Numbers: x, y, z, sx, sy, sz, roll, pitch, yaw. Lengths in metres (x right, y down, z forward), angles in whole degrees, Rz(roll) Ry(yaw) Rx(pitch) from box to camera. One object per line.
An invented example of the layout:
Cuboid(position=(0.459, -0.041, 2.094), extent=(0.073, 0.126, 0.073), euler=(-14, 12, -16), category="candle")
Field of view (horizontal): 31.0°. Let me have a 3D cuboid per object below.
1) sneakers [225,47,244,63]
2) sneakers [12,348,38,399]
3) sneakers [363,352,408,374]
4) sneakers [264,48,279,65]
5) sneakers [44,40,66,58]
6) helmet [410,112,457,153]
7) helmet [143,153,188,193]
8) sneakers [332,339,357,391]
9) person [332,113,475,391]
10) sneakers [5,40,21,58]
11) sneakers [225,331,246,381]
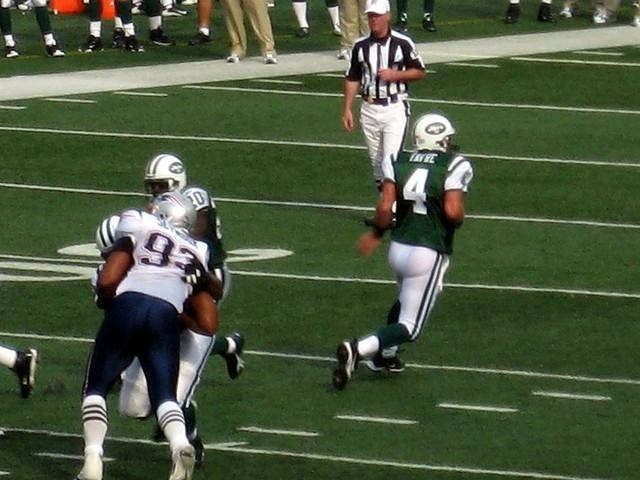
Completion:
Cuboid(position=(-1.200, -2.672, 16.398), extent=(0.254, 0.272, 0.246), euler=(1, 16, -4), category="sneakers")
Cuboid(position=(-2.136, 0.955, 8.514), extent=(0.204, 0.406, 0.144), euler=(-3, 25, -3), category="sneakers")
Cuboid(position=(0.506, 1.001, 9.297), extent=(0.414, 0.128, 0.271), euler=(-2, -3, -13), category="sneakers")
Cuboid(position=(-0.698, -2.599, 16.272), extent=(0.199, 0.174, 0.146), euler=(-15, 25, -39), category="sneakers")
Cuboid(position=(-3.774, -2.755, 16.561), extent=(0.372, 0.239, 0.111), euler=(0, 51, -1), category="sneakers")
Cuboid(position=(0.878, -0.871, 9.169), extent=(0.371, 0.274, 0.261), euler=(0, 17, 2), category="helmet")
Cuboid(position=(-1.126, -0.490, 8.546), extent=(0.260, 0.247, 0.325), euler=(-4, 2, 25), category="helmet")
Cuboid(position=(0.176, 0.938, 8.770), extent=(0.158, 0.400, 0.184), euler=(26, 24, 33), category="sneakers")
Cuboid(position=(0.677, 0.132, 8.945), extent=(0.760, 2.130, 1.295), euler=(10, 18, 24), category="person")
Cuboid(position=(-4.361, -2.722, 16.456), extent=(0.191, 0.190, 0.155), euler=(-2, 17, -15), category="sneakers")
Cuboid(position=(-0.632, 0.898, 8.817), extent=(0.140, 0.345, 0.164), euler=(-2, 26, -7), category="sneakers")
